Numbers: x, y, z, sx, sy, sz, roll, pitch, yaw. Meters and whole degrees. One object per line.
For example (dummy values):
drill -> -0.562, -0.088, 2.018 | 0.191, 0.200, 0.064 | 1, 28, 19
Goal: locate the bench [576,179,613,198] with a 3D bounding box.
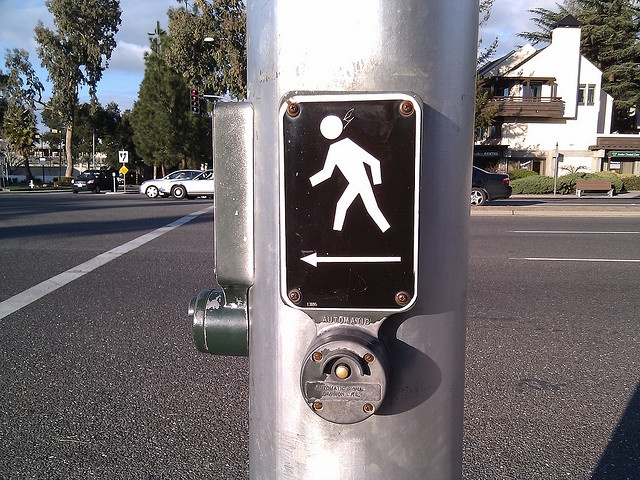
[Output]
bench -> 13.209, -2.396, 27.597 | 2.400, 0.719, 1.564 | -5, 11, -28

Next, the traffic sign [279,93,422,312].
traffic sign -> 0.078, -0.092, 1.431 | 0.329, 0.621, 0.094 | -1, 34, 2

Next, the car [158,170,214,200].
car -> -5.559, -2.381, 25.361 | 2.600, 1.292, 0.915 | 5, 9, 27

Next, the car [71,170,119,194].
car -> -13.598, -3.408, 34.965 | 1.327, 1.309, 2.347 | -1, 1, 14
